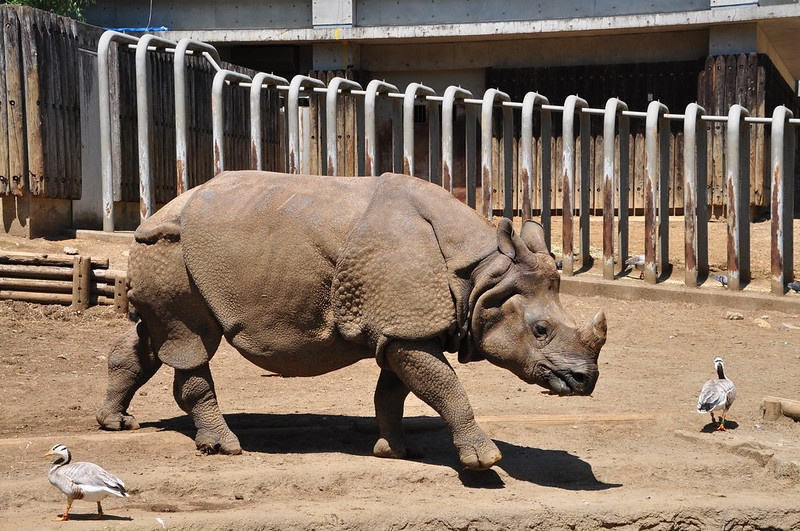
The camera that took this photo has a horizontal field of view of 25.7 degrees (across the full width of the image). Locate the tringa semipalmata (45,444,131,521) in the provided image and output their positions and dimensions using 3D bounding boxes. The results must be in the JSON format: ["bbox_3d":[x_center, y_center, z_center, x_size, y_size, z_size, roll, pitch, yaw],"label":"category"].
[{"bbox_3d":[-3.565,2.470,19.919,1.115,0.851,0.499,0,-2,23],"label":"tringa semipalmata"}]

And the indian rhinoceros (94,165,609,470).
[{"bbox_3d":[-0.678,0.674,21.471,6.117,3.614,2.049,1,4,11],"label":"indian rhinoceros"}]

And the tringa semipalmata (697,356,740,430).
[{"bbox_3d":[3.865,1.598,21.931,0.374,0.813,1.053,1,14,23],"label":"tringa semipalmata"}]
